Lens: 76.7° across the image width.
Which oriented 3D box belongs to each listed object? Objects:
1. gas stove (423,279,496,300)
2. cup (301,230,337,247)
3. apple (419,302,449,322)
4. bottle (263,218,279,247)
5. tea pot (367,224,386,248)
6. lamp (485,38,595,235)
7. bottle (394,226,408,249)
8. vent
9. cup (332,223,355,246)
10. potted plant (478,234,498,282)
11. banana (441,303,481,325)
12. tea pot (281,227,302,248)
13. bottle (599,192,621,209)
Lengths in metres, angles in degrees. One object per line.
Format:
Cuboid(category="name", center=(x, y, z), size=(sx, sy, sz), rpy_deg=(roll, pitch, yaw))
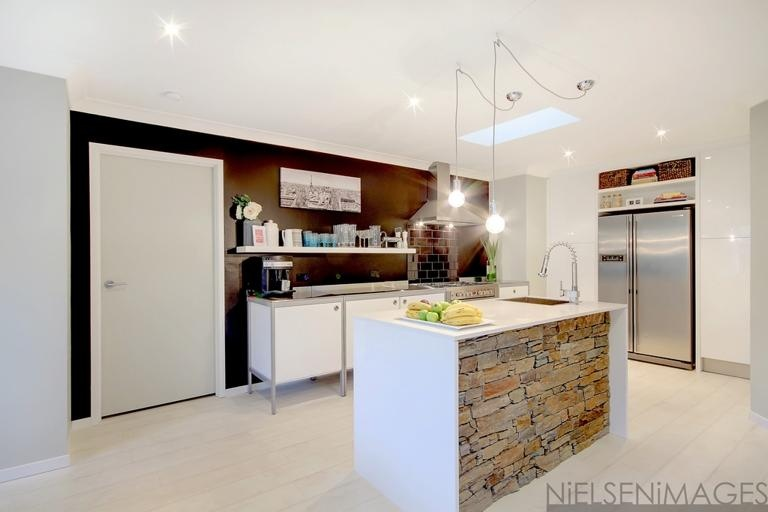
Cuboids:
Cuboid(category="gas stove", center=(1.062, 0.478, 6.603), size=(1.111, 0.218, 0.377), rpy_deg=(-3, 2, -34))
Cuboid(category="cup", center=(-0.768, -0.194, 5.786), size=(0.309, 0.143, 0.190), rpy_deg=(2, -4, -19))
Cuboid(category="apple", center=(0.393, 0.461, 3.907), size=(0.163, 0.070, 0.168), rpy_deg=(-9, 10, 33))
Cuboid(category="bottle", center=(-1.278, -0.251, 5.497), size=(0.157, 0.302, 0.200), rpy_deg=(-2, 2, -15))
Cuboid(category="tea pot", center=(-0.034, -0.237, 6.250), size=(0.178, 0.302, 0.301), rpy_deg=(-2, -5, 24))
Cuboid(category="lamp", center=(1.497, -1.334, 4.676), size=(1.078, 2.075, 0.253), rpy_deg=(2, -23, 10))
Cuboid(category="bottle", center=(0.244, -0.247, 6.602), size=(0.196, 0.287, 0.417), rpy_deg=(-2, 2, 2))
Cuboid(category="vent", center=(0.873, -0.801, 6.966), size=(0.973, 0.763, 0.916), rpy_deg=(0, -1, -27))
Cuboid(category="cup", center=(-0.476, -0.253, 5.995), size=(0.261, 0.321, 0.260), rpy_deg=(-1, -2, 0))
Cuboid(category="potted plant", center=(1.662, 0.003, 7.633), size=(0.249, 0.617, 0.399), rpy_deg=(-1, 2, 12))
Cuboid(category="banana", center=(0.605, 0.476, 3.867), size=(0.264, 0.157, 0.110), rpy_deg=(-2, 45, -6))
Cuboid(category="tea pot", center=(-1.050, -0.201, 5.610), size=(0.223, 0.208, 0.237), rpy_deg=(-2, 2, 0))
Cuboid(category="bottle", center=(3.248, -0.785, 6.959), size=(0.132, 0.243, 0.261), rpy_deg=(0, 0, -44))
